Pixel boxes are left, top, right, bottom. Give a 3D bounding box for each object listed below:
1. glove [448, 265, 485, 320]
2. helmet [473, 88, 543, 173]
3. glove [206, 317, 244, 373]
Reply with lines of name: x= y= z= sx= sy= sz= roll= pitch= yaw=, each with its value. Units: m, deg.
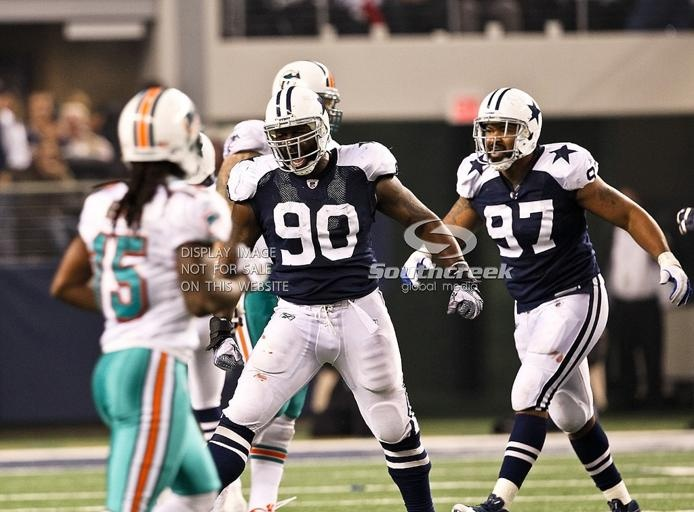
glove: x=0.779 y=0.200 z=8.228 sx=0.222 sy=0.209 sz=0.457 roll=4 pitch=35 yaw=2
helmet: x=1.074 y=-0.860 z=8.344 sx=0.399 sy=0.525 sz=0.542 roll=8 pitch=13 yaw=42
glove: x=-0.739 y=0.539 z=7.618 sx=0.239 sy=0.169 sz=0.374 roll=12 pitch=50 yaw=-24
